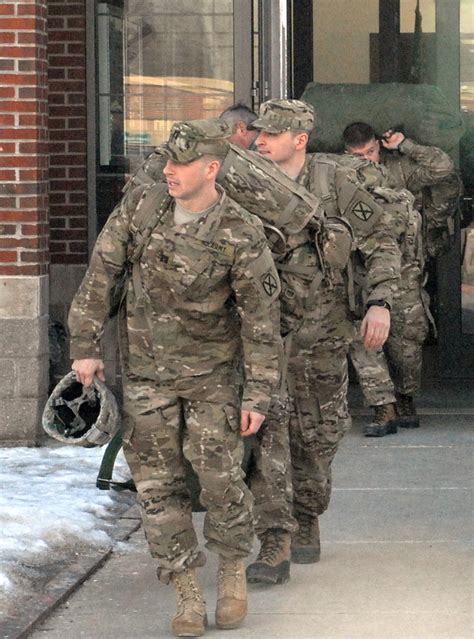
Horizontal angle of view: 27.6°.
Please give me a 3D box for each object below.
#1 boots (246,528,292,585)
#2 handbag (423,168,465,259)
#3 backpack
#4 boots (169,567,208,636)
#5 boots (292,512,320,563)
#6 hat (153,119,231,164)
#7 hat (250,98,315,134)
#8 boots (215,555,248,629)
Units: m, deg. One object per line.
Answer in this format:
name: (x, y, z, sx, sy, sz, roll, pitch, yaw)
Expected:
boots: (0.136, 0.985, 3.995, 0.148, 0.211, 0.187, 5, 7, 16)
handbag: (1.678, -0.875, 7.889, 0.453, 0.657, 0.227, -21, 34, -39)
backpack: (0.116, -0.455, 3.651, 0.452, 0.241, 0.161, 36, -12, -22)
boots: (-0.170, 0.997, 3.403, 0.118, 0.215, 0.156, 2, 7, -7)
boots: (0.307, 0.983, 4.295, 0.100, 0.098, 0.263, -1, 6, 2)
hat: (-0.137, -0.595, 3.241, 0.238, 0.094, 0.159, -6, 18, -38)
hat: (0.185, -0.868, 4.113, 0.256, 0.099, 0.150, -1, 10, -18)
boots: (-0.020, 0.983, 3.482, 0.110, 0.259, 0.159, 3, 7, 1)
